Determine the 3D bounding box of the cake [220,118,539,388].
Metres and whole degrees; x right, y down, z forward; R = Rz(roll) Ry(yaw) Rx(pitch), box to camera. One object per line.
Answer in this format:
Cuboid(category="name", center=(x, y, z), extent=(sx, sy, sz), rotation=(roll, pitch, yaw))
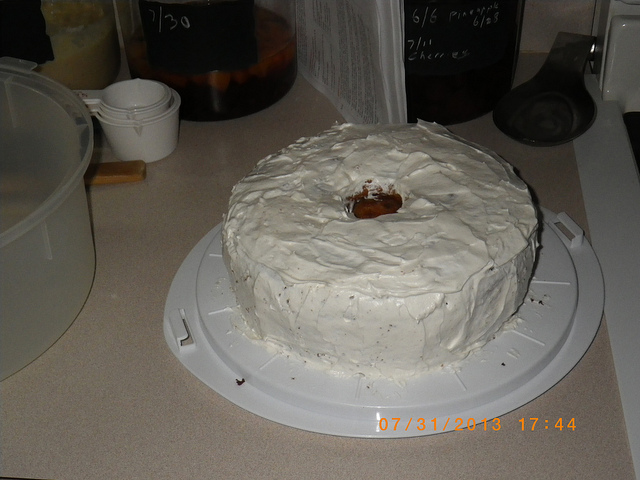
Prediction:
Cuboid(category="cake", center=(0.039, -0.065, 0.608), extent=(0.329, 0.116, 0.332), rotation=(-27, 50, -21))
